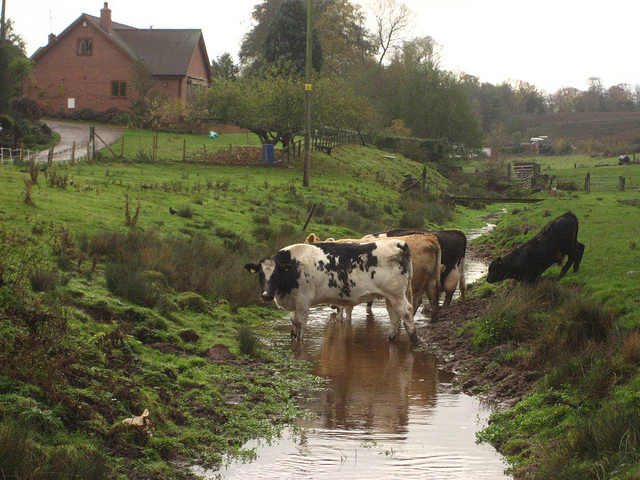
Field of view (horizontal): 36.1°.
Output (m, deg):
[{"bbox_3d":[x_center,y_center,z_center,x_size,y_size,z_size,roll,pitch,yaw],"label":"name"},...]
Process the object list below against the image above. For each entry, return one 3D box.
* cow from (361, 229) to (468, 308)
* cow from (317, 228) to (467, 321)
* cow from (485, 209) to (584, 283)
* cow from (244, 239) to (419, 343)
[{"bbox_3d":[2.491,1.007,30.430,4.744,2.676,1.246,-4,15,-21],"label":"cow"},{"bbox_3d":[2.475,1.019,30.253,4.391,2.526,1.352,-6,8,-21],"label":"cow"},{"bbox_3d":[6.745,0.669,30.624,3.289,1.895,0.930,-25,9,-9],"label":"cow"},{"bbox_3d":[0.368,1.531,28.672,4.673,3.011,1.536,-2,-4,5],"label":"cow"}]
